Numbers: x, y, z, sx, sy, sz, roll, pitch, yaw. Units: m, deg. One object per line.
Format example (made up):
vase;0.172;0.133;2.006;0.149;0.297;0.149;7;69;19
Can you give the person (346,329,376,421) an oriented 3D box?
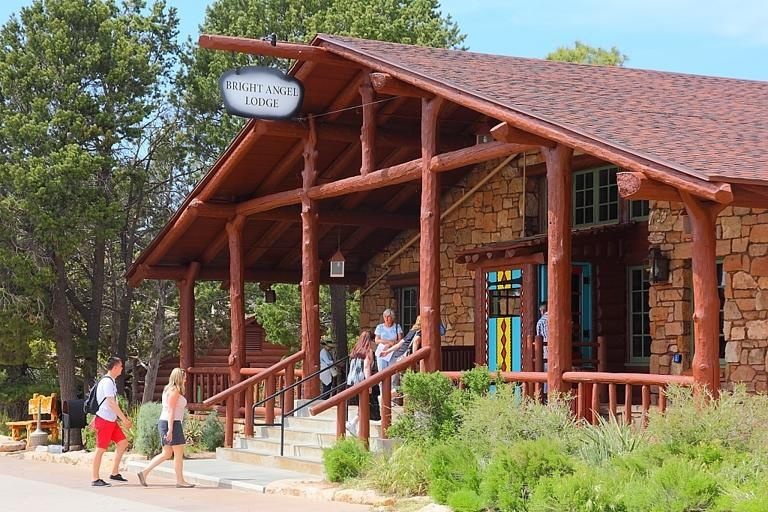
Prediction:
person;-0.501;2.057;21.102;0.466;1.125;1.177;1;-10;-6

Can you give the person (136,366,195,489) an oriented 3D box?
person;-4.011;3.166;19.231;0.938;2.154;0.929;4;-11;-23

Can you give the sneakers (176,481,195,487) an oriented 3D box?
sneakers;-3.647;4.164;19.025;0.361;0.156;0.122;0;1;-14

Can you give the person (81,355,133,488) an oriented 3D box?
person;-5.199;3.087;19.550;0.764;2.383;1.065;2;-10;-16

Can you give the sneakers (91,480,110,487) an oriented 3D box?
sneakers;-5.276;4.198;19.353;0.364;0.159;0.140;1;-2;-3

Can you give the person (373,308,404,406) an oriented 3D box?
person;0.076;1.984;21.261;0.512;1.836;0.516;2;17;5
